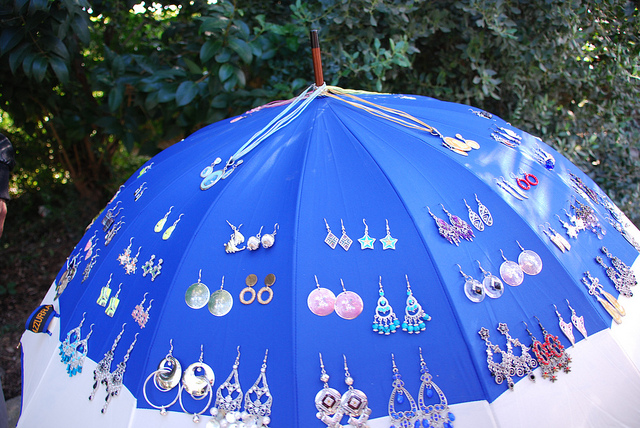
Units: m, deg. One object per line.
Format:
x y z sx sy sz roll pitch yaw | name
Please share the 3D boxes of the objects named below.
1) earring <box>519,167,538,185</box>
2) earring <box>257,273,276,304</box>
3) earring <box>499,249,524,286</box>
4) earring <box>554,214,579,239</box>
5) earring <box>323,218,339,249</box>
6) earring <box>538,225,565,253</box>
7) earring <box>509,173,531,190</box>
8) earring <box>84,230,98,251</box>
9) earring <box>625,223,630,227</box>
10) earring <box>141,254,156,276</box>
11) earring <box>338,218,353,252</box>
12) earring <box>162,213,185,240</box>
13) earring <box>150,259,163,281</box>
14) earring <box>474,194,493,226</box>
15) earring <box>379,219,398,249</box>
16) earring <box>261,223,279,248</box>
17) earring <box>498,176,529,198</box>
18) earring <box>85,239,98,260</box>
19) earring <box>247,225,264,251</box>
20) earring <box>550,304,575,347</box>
1.692 -0.298 4.227 0.065 0.112 0.017 -30 -16 -40 | earring
-0.379 0.533 3.772 0.154 0.187 0.058 -23 -38 26 | earring
1.404 0.396 3.876 0.184 0.250 0.079 14 -37 -23 | earring
1.927 0.100 4.150 0.118 0.214 0.031 -36 -9 -26 | earring
0.082 0.170 3.818 0.090 0.140 0.050 14 -37 -23 | earring
1.745 0.195 3.984 0.039 0.222 0.033 -29 -14 -32 | earring
1.598 -0.258 4.183 0.084 0.138 0.025 -35 -23 -34 | earring
-1.973 0.229 4.533 0.042 0.175 0.012 17 -21 24 | earring
2.673 0.095 4.576 0.038 0.039 0.022 15 -46 54 | earring
-1.318 0.392 4.037 0.085 0.152 0.016 27 -6 30 | earring
0.185 0.176 3.822 0.088 0.174 0.055 16 -38 -26 | earring
-1.144 0.096 4.114 0.064 0.265 0.023 17 -25 22 | earring
-1.242 0.421 3.993 0.077 0.144 0.024 17 -8 28 | earring
1.230 -0.023 3.966 0.091 0.292 0.040 -21 -24 3 | earring
0.496 0.155 3.815 0.158 0.296 0.038 -1 -10 8 | earring
-0.387 0.172 3.817 0.066 0.129 0.024 16 -18 17 | earring
1.501 -0.206 4.111 0.055 0.188 0.029 -39 -12 -45 | earring
-1.941 0.309 4.469 0.036 0.156 0.011 15 -15 37 | earring
-0.489 0.180 3.860 0.071 0.140 0.035 2 -24 30 | earring
1.785 0.812 3.851 0.077 0.293 0.039 -19 -12 -18 | earring
